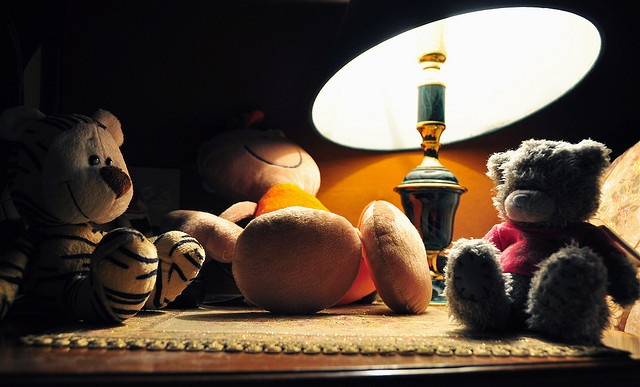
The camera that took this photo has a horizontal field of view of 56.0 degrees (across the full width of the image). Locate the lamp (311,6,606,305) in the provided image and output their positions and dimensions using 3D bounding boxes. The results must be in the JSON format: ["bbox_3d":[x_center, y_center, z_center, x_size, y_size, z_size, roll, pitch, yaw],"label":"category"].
[{"bbox_3d":[0.809,-0.270,2.970,1.070,1.598,1.158,-7,-34,25],"label":"lamp"}]

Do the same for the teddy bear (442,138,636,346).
[{"bbox_3d":[0.673,0.156,1.800,0.411,0.629,0.579,29,-21,-33],"label":"teddy bear"}]
